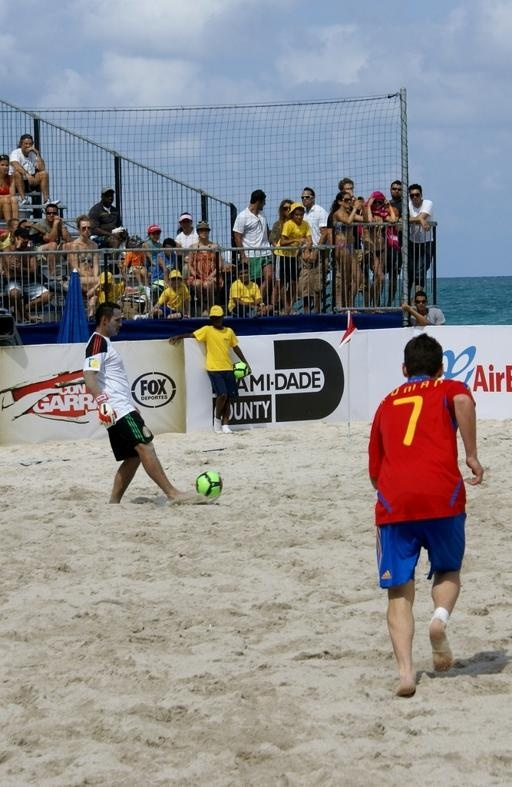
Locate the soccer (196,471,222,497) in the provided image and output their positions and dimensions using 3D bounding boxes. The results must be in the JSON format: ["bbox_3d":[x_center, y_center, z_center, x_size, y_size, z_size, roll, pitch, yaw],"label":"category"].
[{"bbox_3d":[-0.325,0.644,8.135,0.169,0.193,0.180,1,-1,11],"label":"soccer"}]

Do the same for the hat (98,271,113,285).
[{"bbox_3d":[-1.624,-1.238,12.298,0.091,0.091,0.150,2,0,-2],"label":"hat"}]

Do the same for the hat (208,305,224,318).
[{"bbox_3d":[-0.429,-0.869,12.282,0.141,0.121,0.203,-1,7,-7],"label":"hat"}]

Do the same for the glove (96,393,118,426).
[{"bbox_3d":[-1.025,0.128,7.791,0.122,0.220,0.086,-20,-5,2],"label":"glove"}]

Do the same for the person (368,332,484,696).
[{"bbox_3d":[0.674,0.483,4.720,0.473,1.407,0.528,-3,6,-25],"label":"person"}]

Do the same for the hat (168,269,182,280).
[{"bbox_3d":[-0.895,-1.296,12.611,0.135,0.103,0.159,0,7,-4],"label":"hat"}]

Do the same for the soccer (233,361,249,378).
[{"bbox_3d":[-0.149,-0.245,12.342,0.123,0.167,0.174,-9,-5,14],"label":"soccer"}]

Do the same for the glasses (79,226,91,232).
[{"bbox_3d":[-1.930,-1.846,12.844,0.071,0.043,0.103,-3,-5,-7],"label":"glasses"}]

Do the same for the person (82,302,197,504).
[{"bbox_3d":[-0.892,0.096,8.012,0.647,1.436,0.735,-5,8,-40],"label":"person"}]
